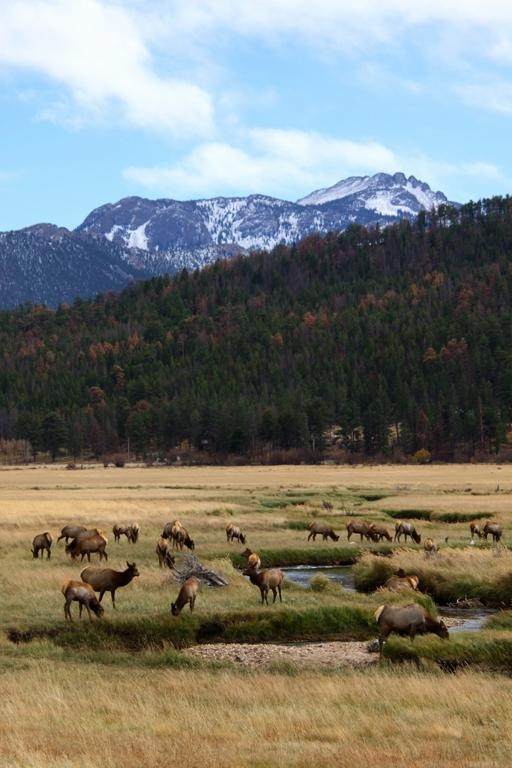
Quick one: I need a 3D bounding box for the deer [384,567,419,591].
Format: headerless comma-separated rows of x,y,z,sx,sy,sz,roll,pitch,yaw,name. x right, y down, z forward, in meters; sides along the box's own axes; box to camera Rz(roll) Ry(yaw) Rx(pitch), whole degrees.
4.370,5.876,42.609,1.002,0.421,0.593,1,-16,-42,deer

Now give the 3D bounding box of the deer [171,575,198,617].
-1.937,5.820,38.502,0.430,0.910,1.210,-1,1,20,deer

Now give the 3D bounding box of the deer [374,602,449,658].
3.720,5.949,34.781,1.688,1.045,0.987,-2,1,-13,deer

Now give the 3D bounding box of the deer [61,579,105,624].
-4.644,5.782,38.114,1.015,1.104,1.362,-2,1,-14,deer
